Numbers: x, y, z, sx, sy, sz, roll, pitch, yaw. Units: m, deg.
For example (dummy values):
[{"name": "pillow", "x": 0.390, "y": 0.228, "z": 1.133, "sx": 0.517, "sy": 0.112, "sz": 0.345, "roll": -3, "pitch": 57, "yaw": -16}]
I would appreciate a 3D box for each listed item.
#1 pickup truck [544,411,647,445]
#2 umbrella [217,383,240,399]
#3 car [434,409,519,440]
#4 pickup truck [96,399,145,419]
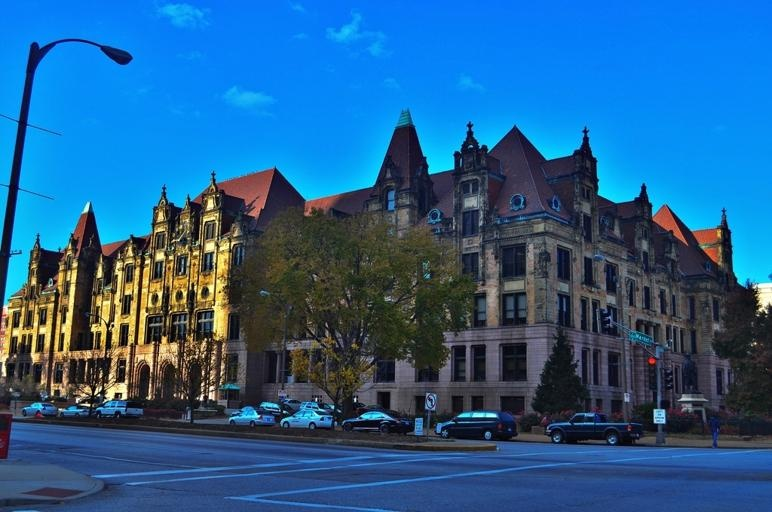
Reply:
[{"name": "pickup truck", "x": 14.334, "y": 11.988, "z": 65.462, "sx": 6.122, "sy": 2.031, "sz": 2.628, "roll": -5, "pitch": -13, "yaw": 32}, {"name": "umbrella", "x": -16.024, "y": 13.891, "z": 97.090, "sx": 1.893, "sy": 1.295, "sz": 1.862, "roll": 5, "pitch": -6, "yaw": -39}, {"name": "car", "x": 6.492, "y": 11.768, "z": 65.961, "sx": 4.841, "sy": 2.078, "sz": 1.501, "roll": -2, "pitch": -16, "yaw": 8}, {"name": "pickup truck", "x": -23.914, "y": 13.504, "z": 83.921, "sx": 4.513, "sy": 1.169, "sz": 2.055, "roll": -5, "pitch": -15, "yaw": 38}]
